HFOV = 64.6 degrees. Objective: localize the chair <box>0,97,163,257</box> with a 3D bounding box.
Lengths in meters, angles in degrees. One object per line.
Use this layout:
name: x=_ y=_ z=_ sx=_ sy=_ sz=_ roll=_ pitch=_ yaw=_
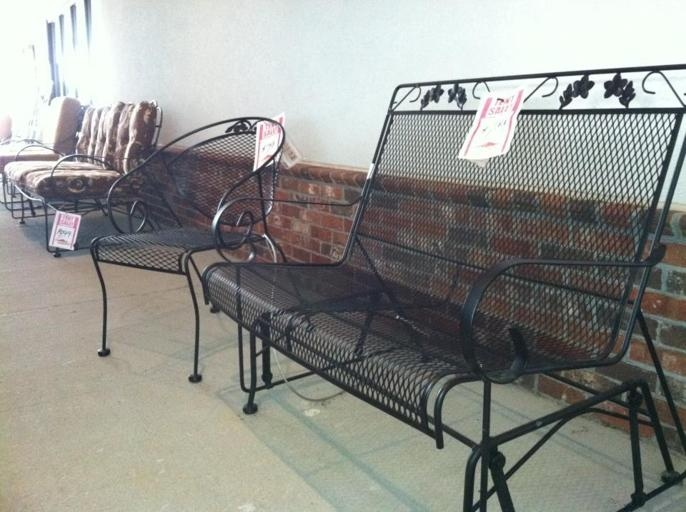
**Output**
chair: x=-2.113 y=-0.635 z=4.419 sx=0.905 sy=1.027 sz=1.594 roll=-6 pitch=16 yaw=-34
